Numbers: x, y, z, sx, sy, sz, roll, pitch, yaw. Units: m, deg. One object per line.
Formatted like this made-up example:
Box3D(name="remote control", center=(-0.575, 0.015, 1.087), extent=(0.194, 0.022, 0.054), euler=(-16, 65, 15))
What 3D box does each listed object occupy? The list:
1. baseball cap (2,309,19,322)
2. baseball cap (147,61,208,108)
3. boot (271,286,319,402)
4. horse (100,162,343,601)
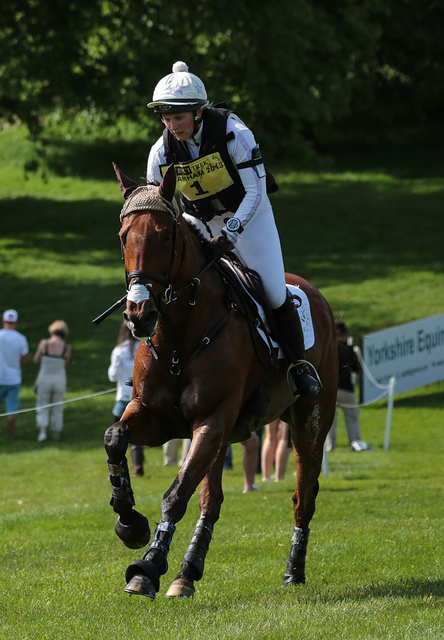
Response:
Box3D(name="baseball cap", center=(-3.332, -0.061, 15.730), extent=(0.290, 0.207, 0.420), euler=(0, 9, -6))
Box3D(name="baseball cap", center=(-0.284, -1.445, 6.275), extent=(0.361, 0.273, 0.198), euler=(-2, 0, -2))
Box3D(name="boot", center=(0.491, 0.173, 6.972), extent=(0.233, 0.912, 0.298), euler=(-20, 8, 3))
Box3D(name="horse", center=(0.002, 0.439, 6.600), extent=(1.284, 2.713, 2.344), euler=(-3, 0, 9))
